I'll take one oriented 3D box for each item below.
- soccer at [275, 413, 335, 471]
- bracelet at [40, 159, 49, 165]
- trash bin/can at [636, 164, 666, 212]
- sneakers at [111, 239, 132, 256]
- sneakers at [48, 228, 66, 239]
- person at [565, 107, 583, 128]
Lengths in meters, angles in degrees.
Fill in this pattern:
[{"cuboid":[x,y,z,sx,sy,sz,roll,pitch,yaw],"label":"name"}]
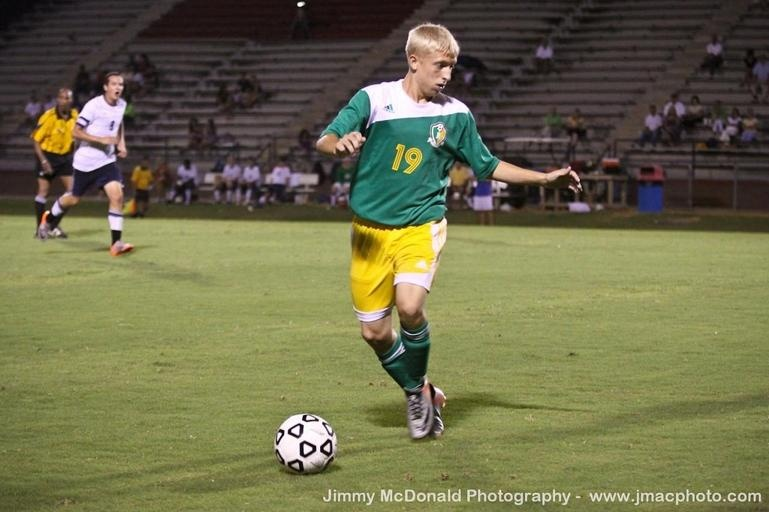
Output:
[{"cuboid":[-0.918,2.155,14.099,0.654,0.590,0.614,1,16,-4],"label":"soccer"},{"cuboid":[-6.591,-1.851,23.463,0.106,0.086,0.102,0,6,-4],"label":"bracelet"},{"cuboid":[6.495,-1.701,29.719,0.793,1.077,0.742,1,3,14],"label":"trash bin/can"},{"cuboid":[-4.867,-0.164,22.077,0.518,0.231,0.203,-16,0,19],"label":"sneakers"},{"cuboid":[-6.740,-0.490,24.900,0.401,0.171,0.165,-2,1,44],"label":"sneakers"},{"cuboid":[5.212,-3.816,33.021,0.592,0.736,0.277,2,-8,11],"label":"person"}]
